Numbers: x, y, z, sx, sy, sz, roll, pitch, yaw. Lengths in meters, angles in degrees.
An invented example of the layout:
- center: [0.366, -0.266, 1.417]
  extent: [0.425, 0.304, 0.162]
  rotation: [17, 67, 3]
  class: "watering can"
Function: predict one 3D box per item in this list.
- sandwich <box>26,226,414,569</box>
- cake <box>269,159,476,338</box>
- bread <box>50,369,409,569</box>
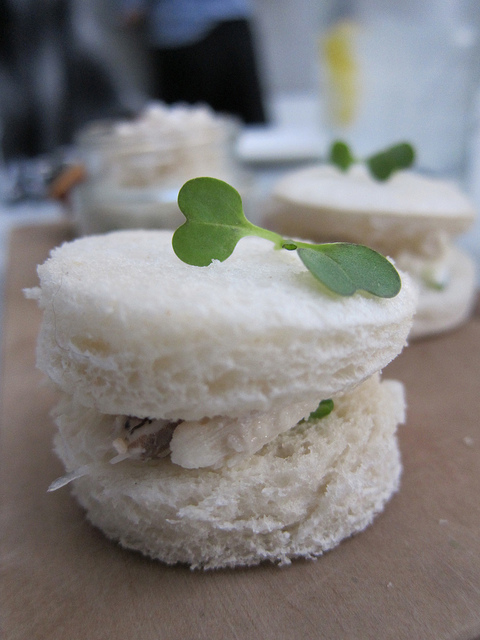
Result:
- center: [-0.029, 0.062, 1.010]
  extent: [0.505, 0.288, 0.446]
  rotation: [-4, 23, -29]
  class: "sandwich"
- center: [0.275, -0.153, 1.538]
  extent: [0.476, 0.233, 0.406]
  rotation: [-3, 24, -1]
  class: "cake"
- center: [0.009, 0.140, 1.060]
  extent: [0.526, 0.118, 0.490]
  rotation: [6, 13, 19]
  class: "bread"
